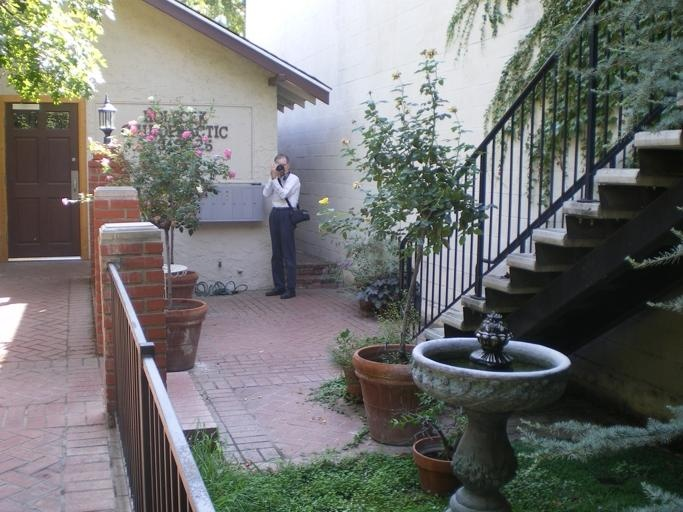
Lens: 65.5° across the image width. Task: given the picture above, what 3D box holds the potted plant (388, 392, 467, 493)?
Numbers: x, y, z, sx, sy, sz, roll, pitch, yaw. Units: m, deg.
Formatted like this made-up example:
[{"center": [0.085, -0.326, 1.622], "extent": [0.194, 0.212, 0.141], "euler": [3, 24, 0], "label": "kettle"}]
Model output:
[{"center": [0.625, 1.271, 3.876], "extent": [0.497, 0.430, 1.094], "euler": [9, 4, 11], "label": "potted plant"}]

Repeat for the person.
[{"center": [-1.048, -0.529, 9.449], "extent": [0.821, 2.522, 0.698], "euler": [8, 5, -8], "label": "person"}]

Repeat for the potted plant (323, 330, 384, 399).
[{"center": [0.102, 1.003, 5.384], "extent": [0.618, 0.666, 0.649], "euler": [6, 8, 41], "label": "potted plant"}]

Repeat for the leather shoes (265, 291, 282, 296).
[{"center": [-1.203, 0.674, 9.577], "extent": [0.322, 0.122, 0.107], "euler": [3, 0, -23], "label": "leather shoes"}]

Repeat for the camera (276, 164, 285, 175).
[{"center": [-1.033, -1.479, 9.116], "extent": [0.146, 0.106, 0.129], "euler": [7, -7, -44], "label": "camera"}]
